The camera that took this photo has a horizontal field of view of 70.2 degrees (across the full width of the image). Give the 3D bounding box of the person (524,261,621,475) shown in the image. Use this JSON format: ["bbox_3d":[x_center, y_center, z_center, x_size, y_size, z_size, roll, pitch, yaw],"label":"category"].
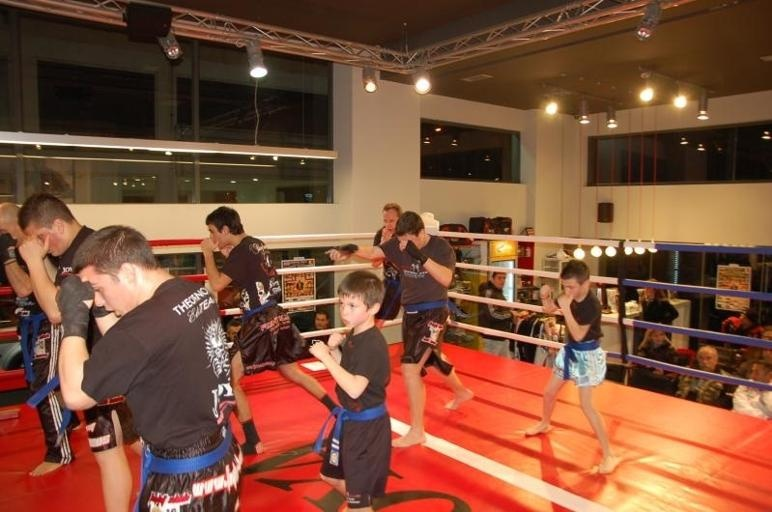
[{"bbox_3d":[1.624,0.893,4.693,0.759,1.716,0.416,7,11,44],"label":"person"}]

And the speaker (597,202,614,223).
[{"bbox_3d":[4.709,-0.936,11.859,0.385,0.439,0.389,0,-2,19],"label":"speaker"}]

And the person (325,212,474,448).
[{"bbox_3d":[0.253,0.627,5.374,1.169,2.064,1.355,2,3,37],"label":"person"}]

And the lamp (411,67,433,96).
[{"bbox_3d":[0.501,-2.411,7.527,0.190,0.325,0.446,-1,8,1],"label":"lamp"}]

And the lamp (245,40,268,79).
[{"bbox_3d":[-1.591,-2.412,6.708,0.211,0.412,0.419,-3,9,-13],"label":"lamp"}]

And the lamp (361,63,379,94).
[{"bbox_3d":[-0.224,-2.423,7.461,0.180,0.355,0.325,-2,8,-5],"label":"lamp"}]

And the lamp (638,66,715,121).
[{"bbox_3d":[4.918,-2.769,9.375,1.433,0.614,0.249,10,-7,-12],"label":"lamp"}]

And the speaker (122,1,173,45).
[{"bbox_3d":[-2.594,-2.548,5.954,0.473,0.350,0.425,-5,9,-25],"label":"speaker"}]

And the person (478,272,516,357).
[{"bbox_3d":[1.815,1.001,9.047,0.501,1.460,1.284,0,8,8],"label":"person"}]

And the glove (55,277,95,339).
[{"bbox_3d":[-1.789,0.290,3.228,0.216,0.344,0.135,16,5,19],"label":"glove"}]
